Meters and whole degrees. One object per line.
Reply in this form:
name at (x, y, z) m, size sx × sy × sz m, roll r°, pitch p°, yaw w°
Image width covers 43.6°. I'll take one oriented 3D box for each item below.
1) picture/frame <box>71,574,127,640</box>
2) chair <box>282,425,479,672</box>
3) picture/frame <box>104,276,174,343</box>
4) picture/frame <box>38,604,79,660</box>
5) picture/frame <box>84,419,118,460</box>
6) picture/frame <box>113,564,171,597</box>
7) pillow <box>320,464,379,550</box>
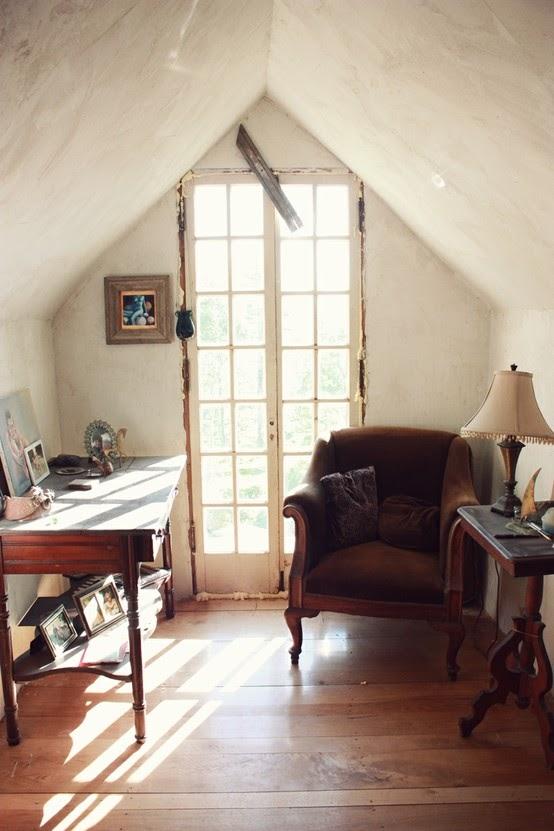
picture/frame at (-0.651, 0.711, 2.538) m, size 0.023 × 0.203 × 0.295 m, roll -20°, pitch -3°, yaw 20°
chair at (0.456, 0.541, 2.981) m, size 0.743 × 0.856 × 0.750 m, roll 1°, pitch 10°, yaw 12°
picture/frame at (-0.664, -0.512, 3.308) m, size 0.312 × 0.327 × 0.027 m, roll 0°, pitch 7°, yaw -1°
picture/frame at (-0.766, 0.768, 2.429) m, size 0.023 × 0.114 × 0.154 m, roll -18°, pitch 12°, yaw 14°
picture/frame at (-0.750, 0.115, 3.029) m, size 0.165 × 0.174 × 0.147 m, roll -8°, pitch 12°, yaw -33°
picture/frame at (-0.544, 0.694, 2.991) m, size 0.200 × 0.071 × 0.213 m, roll -2°, pitch 10°, yaw 5°
pillow at (0.311, 0.410, 2.980) m, size 0.281 × 0.332 × 0.125 m, roll -10°, pitch -5°, yaw -15°
